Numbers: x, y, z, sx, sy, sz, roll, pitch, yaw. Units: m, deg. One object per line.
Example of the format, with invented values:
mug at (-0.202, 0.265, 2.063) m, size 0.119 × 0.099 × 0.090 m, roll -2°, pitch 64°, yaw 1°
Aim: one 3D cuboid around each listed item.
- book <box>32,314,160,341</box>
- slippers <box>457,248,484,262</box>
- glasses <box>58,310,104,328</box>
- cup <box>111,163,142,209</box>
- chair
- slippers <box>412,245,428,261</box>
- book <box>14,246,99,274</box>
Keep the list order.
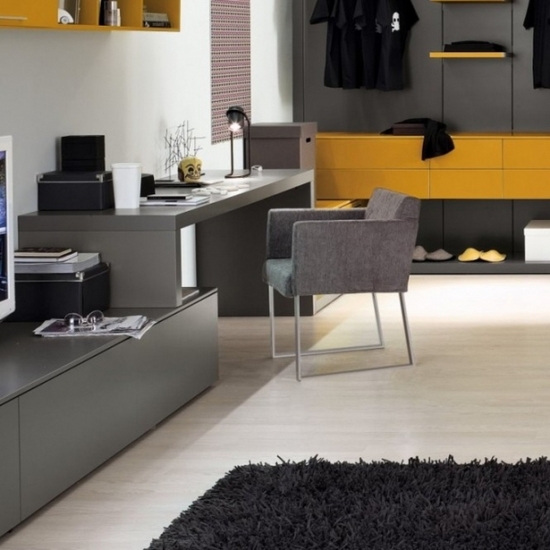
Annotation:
book at (-0.593, 0.169, 2.015) m, size 0.363 × 0.066 × 0.197 m, roll -2°, pitch 6°, yaw -5°
slippers at (1.583, -0.162, 5.061) m, size 0.207 × 0.095 × 0.135 m, roll -5°, pitch 7°, yaw -32°
glasses at (-0.631, 0.145, 2.012) m, size 0.084 × 0.038 × 0.058 m, roll -3°, pitch 3°, yaw -10°
cup at (-0.588, -0.346, 2.473) m, size 0.154 × 0.216 × 0.152 m, roll 0°, pitch 0°, yaw 0°
chair at (0.303, 0.026, 3.096) m, size 0.629 × 0.863 × 0.626 m, roll -2°, pitch 9°, yaw -11°
slippers at (1.141, -0.169, 4.908) m, size 0.114 × 0.129 × 0.037 m, roll 7°, pitch -10°, yaw -31°
book at (-0.751, -0.042, 2.156) m, size 0.309 × 0.062 × 0.186 m, roll -6°, pitch 7°, yaw -33°
